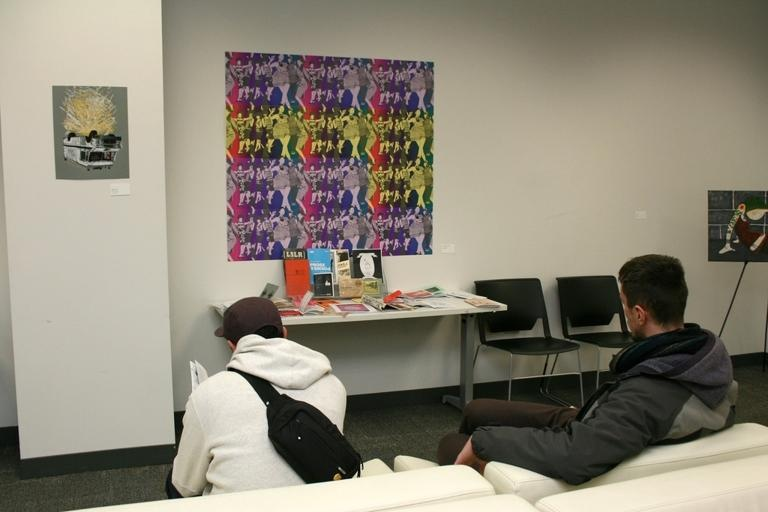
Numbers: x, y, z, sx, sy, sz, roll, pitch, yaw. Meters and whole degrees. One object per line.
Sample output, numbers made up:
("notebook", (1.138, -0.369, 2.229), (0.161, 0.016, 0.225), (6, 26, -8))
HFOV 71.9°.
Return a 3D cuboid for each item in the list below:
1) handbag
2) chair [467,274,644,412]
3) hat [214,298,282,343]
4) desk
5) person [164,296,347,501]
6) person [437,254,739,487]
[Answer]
("handbag", (-0.291, 0.756, 2.170), (0.238, 0.407, 0.147), (-43, 1, -14))
("chair", (1.319, 0.660, 4.299), (1.238, 0.837, 0.520), (0, -1, -19))
("hat", (-0.623, 0.272, 2.411), (0.180, 0.132, 0.252), (-9, 13, -39))
("desk", (-0.213, 0.954, 4.458), (2.263, 1.101, 0.929), (-1, 3, -8))
("person", (-0.534, 0.505, 2.417), (0.748, 1.016, 0.809), (1, 2, -24))
("person", (0.820, 0.551, 2.581), (1.396, 0.996, 0.971), (-6, 12, 13))
